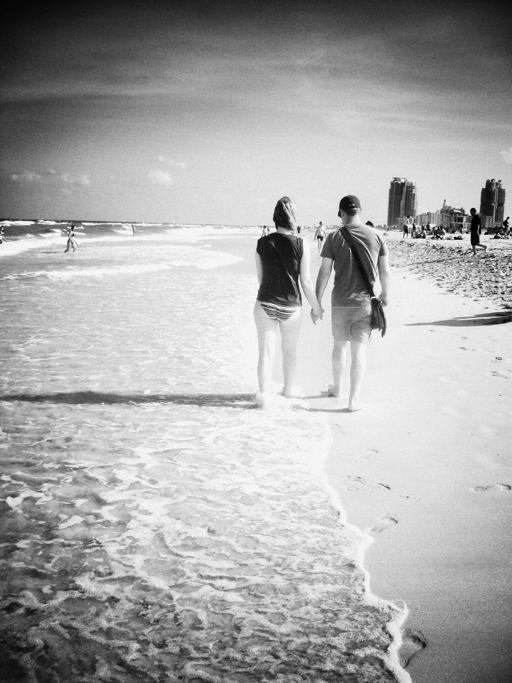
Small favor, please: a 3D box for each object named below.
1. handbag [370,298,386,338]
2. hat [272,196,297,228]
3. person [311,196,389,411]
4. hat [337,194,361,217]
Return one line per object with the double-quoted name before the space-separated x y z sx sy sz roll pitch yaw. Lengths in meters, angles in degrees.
"handbag" 1.057 -0.222 5.330 0.121 0.360 0.223 0 13 11
"hat" 0.247 -1.105 5.274 0.184 0.290 0.151 -2 13 1
"person" 0.855 -0.315 5.409 0.641 1.912 0.747 -6 13 -17
"hat" 0.780 -1.138 5.092 0.161 0.166 0.281 -1 12 5
